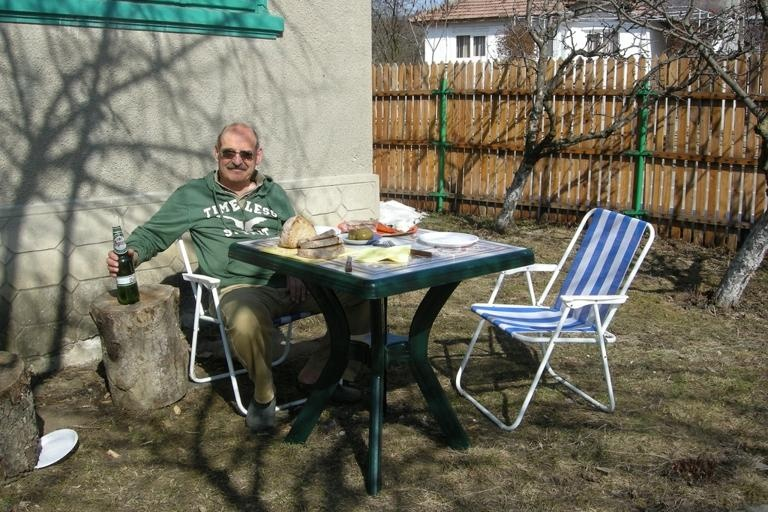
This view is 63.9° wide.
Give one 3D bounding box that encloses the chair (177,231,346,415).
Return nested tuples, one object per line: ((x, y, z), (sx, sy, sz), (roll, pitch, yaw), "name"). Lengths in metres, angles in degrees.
((-1.088, 0.393, 5.047), (0.966, 1.478, 1.029), (-8, 12, -37), "chair")

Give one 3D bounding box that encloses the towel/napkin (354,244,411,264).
((-0.013, -0.027, 3.950), (0.358, 0.066, 0.278), (5, 21, 4), "towel/napkin")

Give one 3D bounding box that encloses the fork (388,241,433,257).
((0.176, -0.045, 4.051), (0.059, 0.052, 0.347), (2, -9, 45), "fork")

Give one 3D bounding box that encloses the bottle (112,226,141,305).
((-1.910, 0.058, 4.543), (0.155, 0.617, 0.173), (22, 29, 40), "bottle")

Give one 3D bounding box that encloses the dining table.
((-0.191, 0.392, 3.913), (0.978, 1.439, 1.408), (10, 34, 0), "dining table")

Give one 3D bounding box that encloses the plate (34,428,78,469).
((-2.241, 1.311, 4.208), (0.198, 0.040, 0.199), (15, 18, 35), "plate")

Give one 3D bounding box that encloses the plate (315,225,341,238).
((-0.398, -0.184, 4.268), (0.166, 0.040, 0.158), (-6, 9, -41), "plate")
